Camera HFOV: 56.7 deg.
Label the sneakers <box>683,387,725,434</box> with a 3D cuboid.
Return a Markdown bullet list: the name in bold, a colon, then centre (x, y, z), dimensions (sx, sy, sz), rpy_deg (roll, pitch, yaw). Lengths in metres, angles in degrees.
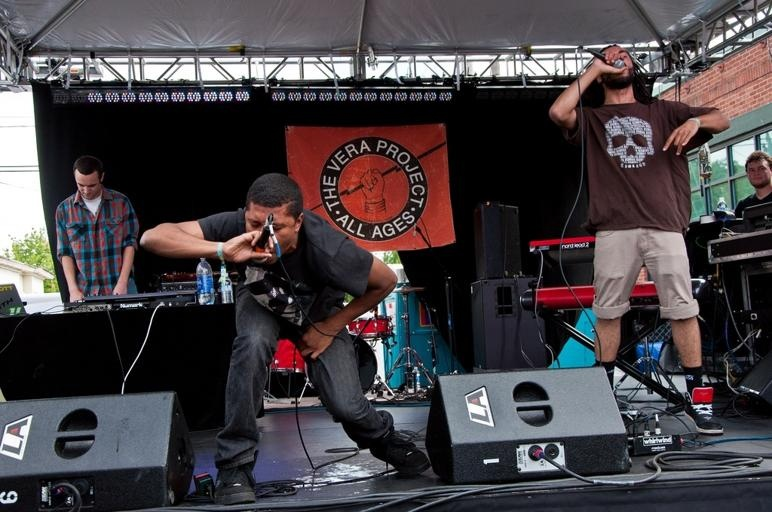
- **sneakers**: centre (2.030, 0.984, 4.579), dimensions (0.197, 0.302, 0.200), rpy_deg (13, -10, -41)

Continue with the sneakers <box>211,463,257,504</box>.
- **sneakers**: centre (-0.841, 1.268, 3.972), dimensions (0.228, 0.189, 0.221), rpy_deg (-2, -3, -13)

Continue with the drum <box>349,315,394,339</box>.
- **drum**: centre (-0.136, 0.777, 7.658), dimensions (0.349, 0.155, 0.368), rpy_deg (1, -9, 0)

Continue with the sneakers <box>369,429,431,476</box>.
- **sneakers**: centre (0.093, 1.164, 4.302), dimensions (0.416, 0.196, 0.179), rpy_deg (6, 20, 34)

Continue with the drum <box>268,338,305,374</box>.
- **drum**: centre (-1.083, 1.063, 8.069), dimensions (0.427, 0.466, 0.420), rpy_deg (16, -13, -6)

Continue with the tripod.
- **tripod**: centre (0.256, 1.083, 8.114), dimensions (0.484, 1.308, 0.586), rpy_deg (2, 3, 3)

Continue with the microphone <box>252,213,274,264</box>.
- **microphone**: centre (-0.687, -0.094, 4.019), dimensions (0.062, 0.061, 0.289), rpy_deg (3, -36, -17)

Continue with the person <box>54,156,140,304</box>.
- **person**: centre (-2.667, -0.306, 6.625), dimensions (0.708, 1.411, 0.994), rpy_deg (-1, -4, -26)

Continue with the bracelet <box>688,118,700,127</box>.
- **bracelet**: centre (2.024, -0.865, 4.673), dimensions (0.063, 0.049, 0.065), rpy_deg (-1, 4, 13)

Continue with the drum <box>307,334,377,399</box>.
- **drum**: centre (-0.379, 1.160, 6.985), dimensions (0.589, 0.691, 0.665), rpy_deg (2, 3, -15)

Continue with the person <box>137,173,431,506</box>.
- **person**: centre (-0.567, 0.445, 4.241), dimensions (1.428, 1.833, 0.471), rpy_deg (-2, -3, -20)

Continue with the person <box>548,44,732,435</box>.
- **person**: centre (1.686, -0.159, 5.055), dimensions (0.967, 2.756, 1.059), rpy_deg (-2, 0, 4)
